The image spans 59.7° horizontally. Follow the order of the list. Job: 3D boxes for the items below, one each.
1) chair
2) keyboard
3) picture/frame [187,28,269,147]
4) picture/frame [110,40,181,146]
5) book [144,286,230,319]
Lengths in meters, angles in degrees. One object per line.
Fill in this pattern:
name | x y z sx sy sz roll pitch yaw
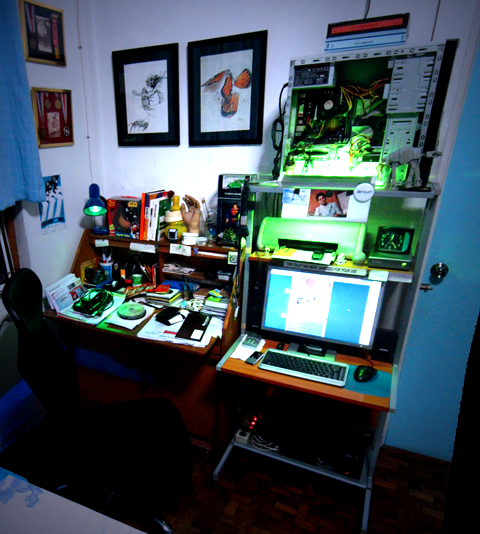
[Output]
chair | -0.599 0.575 1.811 0.571 1.134 0.636 -6 27 9
keyboard | 0.282 0.437 1.844 0.381 0.025 0.190 9 22 16
picture/frame | -0.051 -0.968 2.215 0.545 0.718 0.026 4 16 14
picture/frame | -0.531 -1.009 2.393 0.522 0.659 0.035 4 16 12
book | -0.251 0.192 2.271 0.224 0.057 0.234 5 15 16
